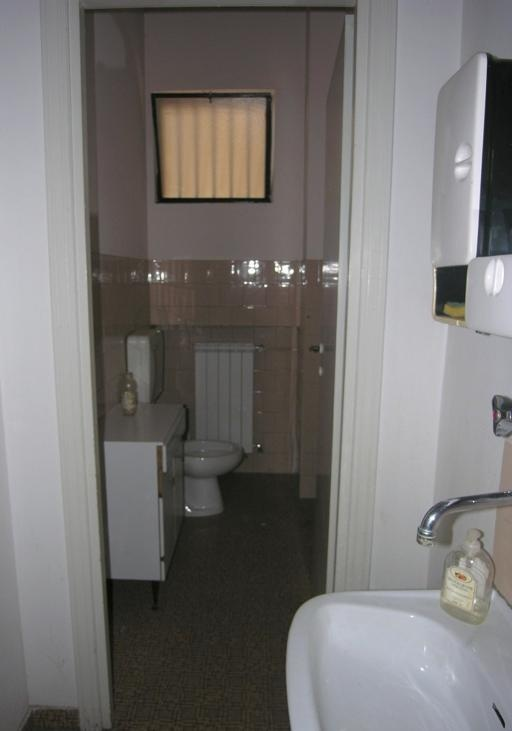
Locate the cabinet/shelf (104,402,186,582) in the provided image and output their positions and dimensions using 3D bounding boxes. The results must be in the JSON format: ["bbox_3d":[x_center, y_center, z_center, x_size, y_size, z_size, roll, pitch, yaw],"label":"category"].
[{"bbox_3d":[-0.433,0.497,2.264,0.293,0.565,0.491,-1,8,-7],"label":"cabinet/shelf"}]

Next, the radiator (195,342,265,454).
[{"bbox_3d":[-0.168,0.169,3.326,0.417,1.156,0.174,0,3,-3],"label":"radiator"}]

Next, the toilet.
[{"bbox_3d":[-0.334,0.112,3.294,0.664,1.522,0.576,-1,19,-3],"label":"toilet"}]

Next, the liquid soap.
[{"bbox_3d":[0.326,0.331,0.890,0.060,0.161,0.075,4,7,-6],"label":"liquid soap"}]
